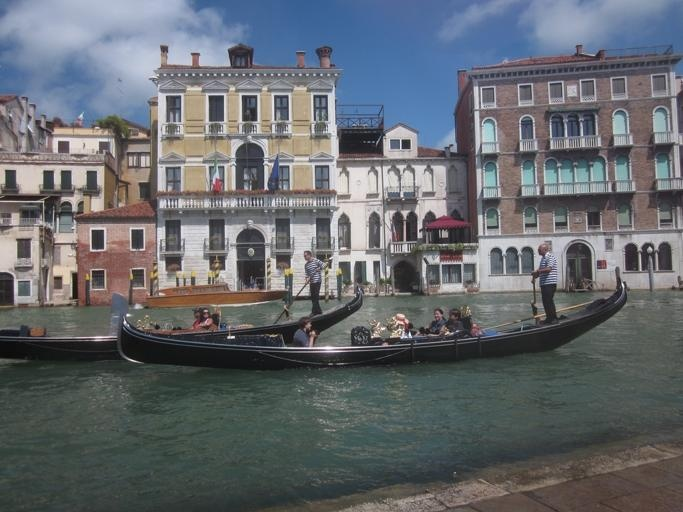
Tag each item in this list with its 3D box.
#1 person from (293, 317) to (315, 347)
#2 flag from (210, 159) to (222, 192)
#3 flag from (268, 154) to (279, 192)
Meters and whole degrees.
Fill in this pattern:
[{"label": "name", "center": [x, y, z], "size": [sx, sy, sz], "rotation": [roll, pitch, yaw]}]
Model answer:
[{"label": "person", "center": [-1.252, 2.657, 28.702], "size": [0.753, 1.100, 0.842], "rotation": [-9, 14, -28]}, {"label": "flag", "center": [-7.367, -4.720, 50.131], "size": [0.682, 1.993, 1.115], "rotation": [-1, -3, -9]}, {"label": "flag", "center": [-4.007, -4.958, 50.367], "size": [0.664, 2.280, 1.512], "rotation": [-1, -3, -2]}]
